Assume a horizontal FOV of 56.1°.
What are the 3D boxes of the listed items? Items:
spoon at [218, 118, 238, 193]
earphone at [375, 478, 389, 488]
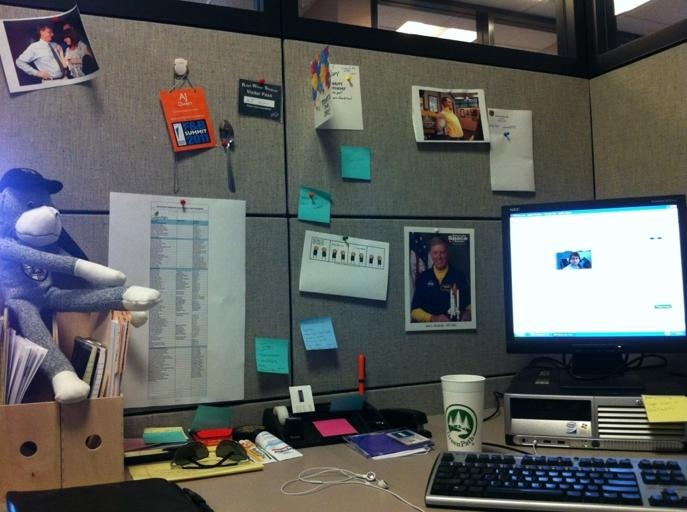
[{"bbox_3d":[-0.277,-0.238,1.542,0.035,0.165,0.023,-3,2,2],"label":"spoon"},{"bbox_3d":[0.074,0.445,1.265,0.010,0.007,0.032,2,-2,-10],"label":"earphone"}]
